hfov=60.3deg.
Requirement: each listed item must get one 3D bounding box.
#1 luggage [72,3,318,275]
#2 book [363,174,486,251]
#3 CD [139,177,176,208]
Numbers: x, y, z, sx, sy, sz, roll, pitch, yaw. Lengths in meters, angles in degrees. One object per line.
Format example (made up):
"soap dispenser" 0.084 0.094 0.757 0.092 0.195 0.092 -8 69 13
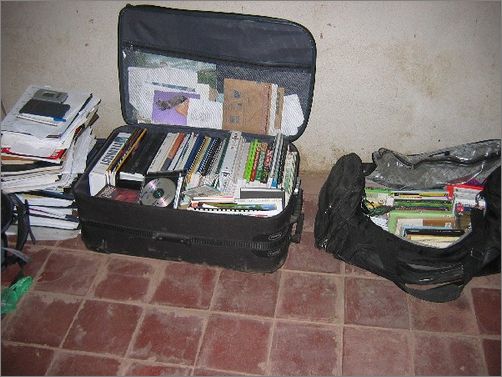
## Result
"luggage" -0.269 -0.220 2.074 1.100 1.210 0.529 4 22 8
"book" 0.880 0.131 2.226 0.465 0.366 0.146 -4 -17 6
"CD" -0.439 0.013 2.034 0.176 0.108 0.098 8 23 19
